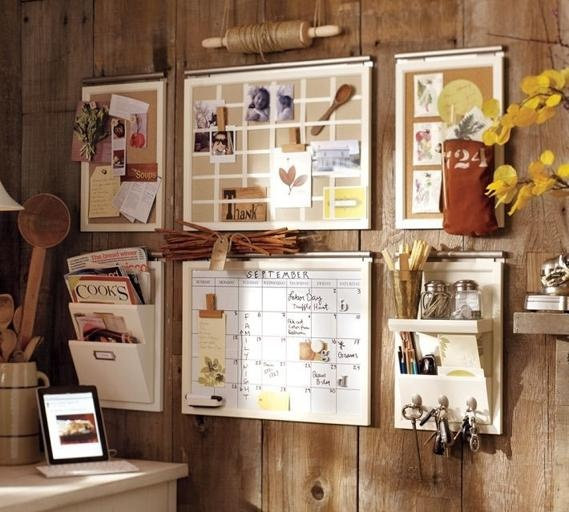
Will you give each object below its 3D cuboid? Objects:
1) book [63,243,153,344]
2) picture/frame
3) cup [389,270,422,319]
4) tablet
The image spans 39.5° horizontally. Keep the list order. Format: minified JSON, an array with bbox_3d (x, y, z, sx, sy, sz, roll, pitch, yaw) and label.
[{"bbox_3d":[-0.648,0.122,2.817,0.265,0.070,0.369,0,93,13],"label":"book"},{"bbox_3d":[0.073,-0.387,2.673,0.582,0.040,0.649,0,89,20],"label":"picture/frame"},{"bbox_3d":[0.378,0.122,2.460,0.112,0.121,0.175,0,84,0],"label":"cup"},{"bbox_3d":[-0.743,0.575,2.676,0.215,0.024,0.344,-4,66,-26],"label":"tablet"}]
